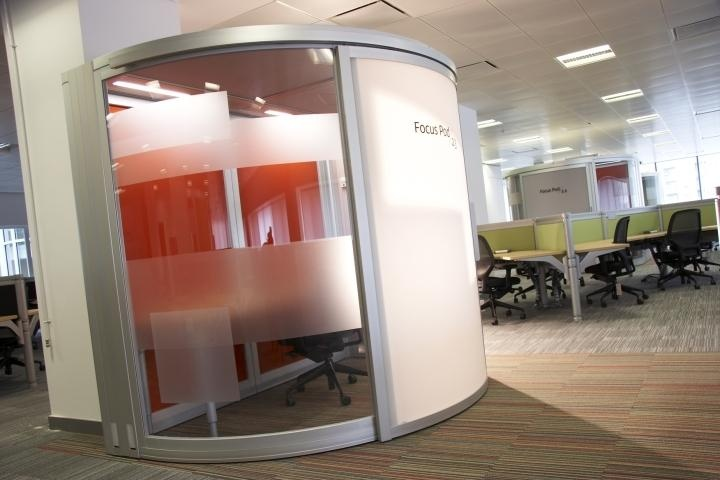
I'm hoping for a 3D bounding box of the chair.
[{"bbox_3d":[-0.279,0.912,4.214,0.687,0.506,0.669,-8,-10,-7],"label":"chair"}]
